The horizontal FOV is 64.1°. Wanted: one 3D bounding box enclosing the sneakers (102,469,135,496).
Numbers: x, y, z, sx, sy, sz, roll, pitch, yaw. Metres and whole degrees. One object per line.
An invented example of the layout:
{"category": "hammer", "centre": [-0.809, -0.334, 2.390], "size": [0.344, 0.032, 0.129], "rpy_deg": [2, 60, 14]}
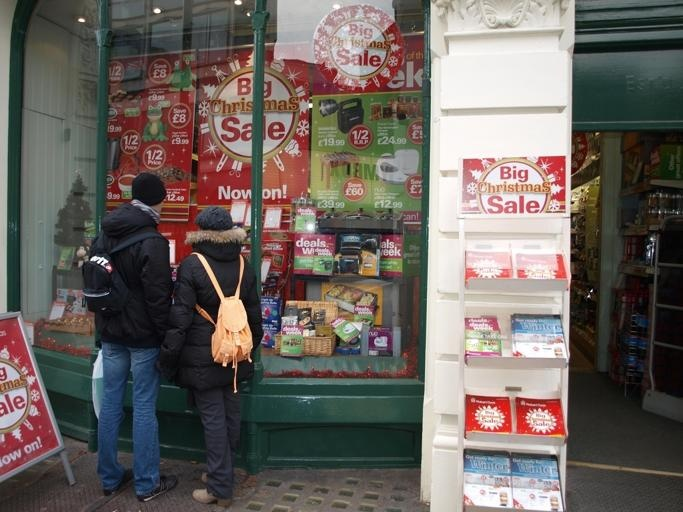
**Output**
{"category": "sneakers", "centre": [-1.687, 1.702, 4.125], "size": [0.079, 0.100, 0.232], "rpy_deg": [5, 14, 11]}

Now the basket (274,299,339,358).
{"category": "basket", "centre": [-0.259, 0.604, 4.538], "size": [0.444, 0.421, 0.174], "rpy_deg": [1, 11, -1]}

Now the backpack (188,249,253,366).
{"category": "backpack", "centre": [-0.855, 0.381, 3.903], "size": [0.369, 0.776, 0.283], "rpy_deg": [-2, 12, -16]}

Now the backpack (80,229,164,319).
{"category": "backpack", "centre": [-1.646, 0.108, 3.962], "size": [0.412, 0.629, 0.622], "rpy_deg": [7, 13, 31]}

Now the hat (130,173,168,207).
{"category": "hat", "centre": [-1.406, -0.486, 3.990], "size": [0.234, 0.235, 0.235], "rpy_deg": [-3, 37, -13]}

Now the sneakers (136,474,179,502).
{"category": "sneakers", "centre": [-1.381, 1.719, 4.061], "size": [0.094, 0.131, 0.293], "rpy_deg": [3, 9, 30]}

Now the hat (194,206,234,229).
{"category": "hat", "centre": [-0.936, -0.279, 4.018], "size": [0.218, 0.138, 0.224], "rpy_deg": [4, -1, -17]}
